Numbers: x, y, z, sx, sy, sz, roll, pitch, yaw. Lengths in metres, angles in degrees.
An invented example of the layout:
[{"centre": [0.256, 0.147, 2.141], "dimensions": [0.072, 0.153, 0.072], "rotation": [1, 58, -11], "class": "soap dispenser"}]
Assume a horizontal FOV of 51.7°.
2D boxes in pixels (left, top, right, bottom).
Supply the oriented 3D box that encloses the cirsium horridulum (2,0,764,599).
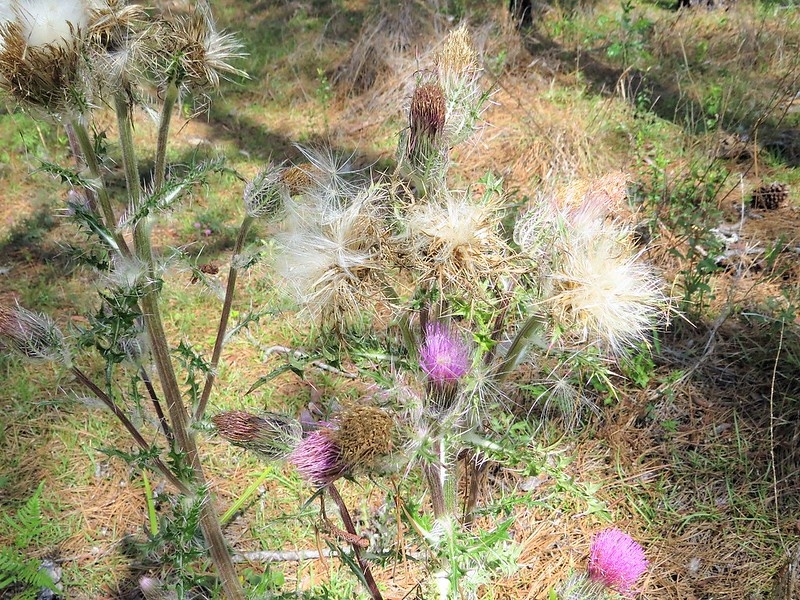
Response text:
[{"centre": [-0.334, 0.078, 3.587], "dimensions": [2.621, 2.313, 1.376], "rotation": [15, 38, 15], "class": "cirsium horridulum"}]
